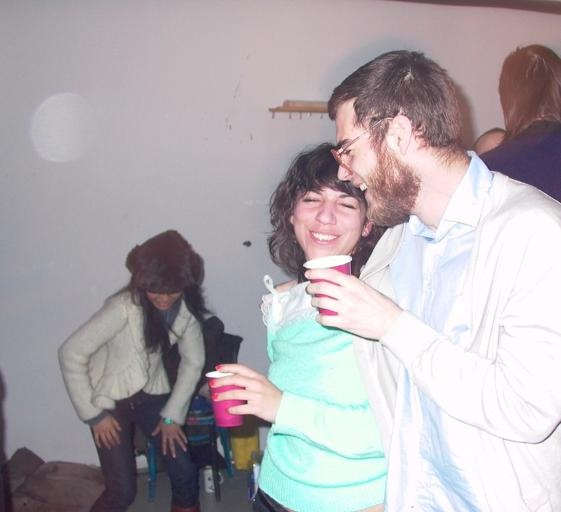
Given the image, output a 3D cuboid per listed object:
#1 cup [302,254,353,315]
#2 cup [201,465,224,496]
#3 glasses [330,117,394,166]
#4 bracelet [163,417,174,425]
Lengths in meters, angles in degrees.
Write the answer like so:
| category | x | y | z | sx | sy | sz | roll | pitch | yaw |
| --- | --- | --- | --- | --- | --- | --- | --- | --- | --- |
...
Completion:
| category | x | y | z | sx | sy | sz | roll | pitch | yaw |
| --- | --- | --- | --- | --- | --- | --- | --- | --- | --- |
| cup | 0.134 | 0.050 | 1.524 | 0.155 | 0.162 | 0.151 | -11 | 22 | 4 |
| cup | -0.413 | 1.408 | 3.173 | 0.158 | 0.185 | 0.100 | 1 | -3 | -4 |
| glasses | 0.231 | -0.349 | 1.520 | 0.122 | 0.038 | 0.120 | -42 | -10 | 18 |
| bracelet | -0.695 | 1.013 | 3.110 | 0.039 | 0.045 | 0.011 | 3 | 2 | -13 |
